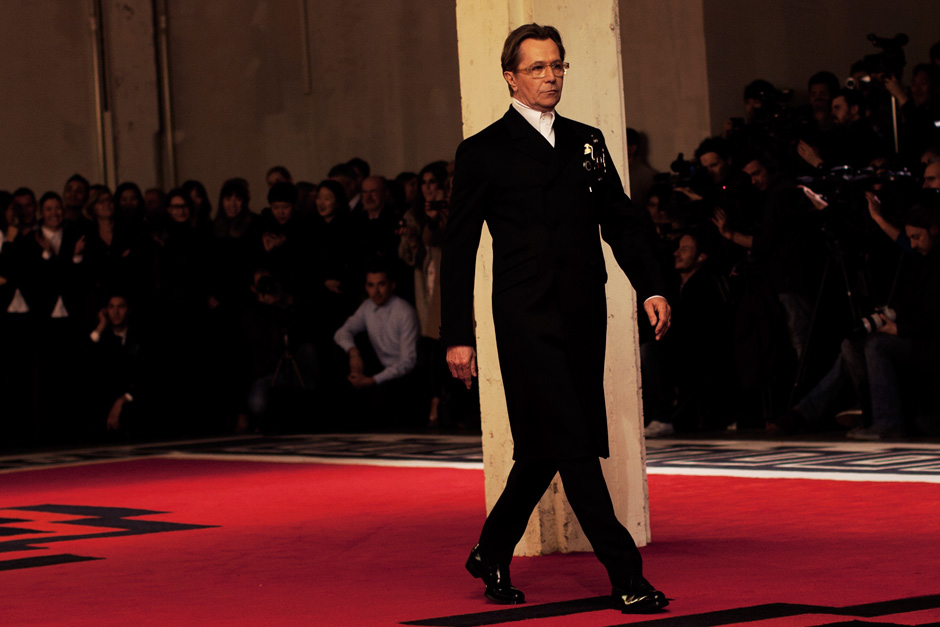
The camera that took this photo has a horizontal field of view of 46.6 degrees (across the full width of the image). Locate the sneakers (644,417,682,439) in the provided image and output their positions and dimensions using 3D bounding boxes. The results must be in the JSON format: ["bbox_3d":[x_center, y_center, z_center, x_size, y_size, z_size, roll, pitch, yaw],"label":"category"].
[{"bbox_3d":[1.657,1.009,9.457,0.352,0.270,0.132,-1,-46,13],"label":"sneakers"}]

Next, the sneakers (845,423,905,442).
[{"bbox_3d":[3.130,0.908,8.484,0.384,0.164,0.146,-4,-3,21],"label":"sneakers"}]

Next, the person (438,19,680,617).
[{"bbox_3d":[0.311,0.017,4.052,0.825,2.153,0.326,0,-3,-2],"label":"person"}]

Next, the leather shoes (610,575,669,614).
[{"bbox_3d":[0.606,1.007,3.898,0.191,0.089,0.107,-3,5,-29],"label":"leather shoes"}]
